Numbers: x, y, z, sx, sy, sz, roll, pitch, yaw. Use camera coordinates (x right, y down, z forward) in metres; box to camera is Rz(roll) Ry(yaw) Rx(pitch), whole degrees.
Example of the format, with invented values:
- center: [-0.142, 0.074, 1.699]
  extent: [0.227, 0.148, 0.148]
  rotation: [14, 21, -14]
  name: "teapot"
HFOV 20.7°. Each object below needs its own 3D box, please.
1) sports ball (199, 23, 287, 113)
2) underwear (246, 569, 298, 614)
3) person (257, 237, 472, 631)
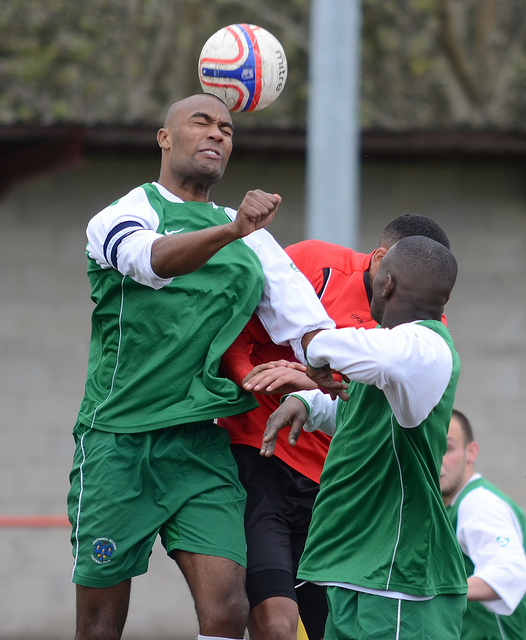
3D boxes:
- center: [-0.071, -0.936, 5.476]
  extent: [0.327, 0.319, 0.320]
  rotation: [-1, -9, 0]
  name: "sports ball"
- center: [0.064, 0.946, 5.078]
  extent: [0.108, 0.153, 0.136]
  rotation: [-26, 56, -8]
  name: "underwear"
- center: [0.346, 0.408, 4.548]
  extent: [0.579, 1.080, 0.833]
  rotation: [-2, 36, -4]
  name: "person"
